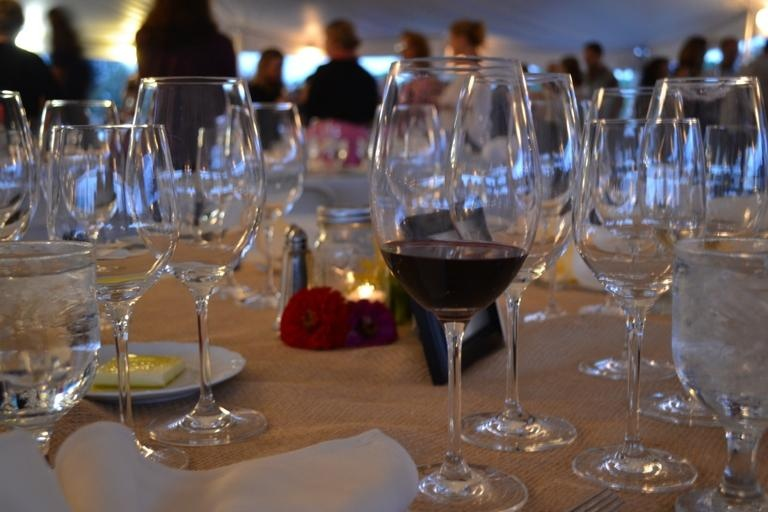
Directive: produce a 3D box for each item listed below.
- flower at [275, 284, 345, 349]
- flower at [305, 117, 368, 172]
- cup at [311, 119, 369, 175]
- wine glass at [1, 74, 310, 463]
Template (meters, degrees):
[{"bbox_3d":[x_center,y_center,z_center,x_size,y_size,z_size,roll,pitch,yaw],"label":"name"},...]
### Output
[{"bbox_3d":[-0.114,0.084,1.259,0.105,0.036,0.101,-24,-48,37],"label":"flower"},{"bbox_3d":[-0.251,-0.596,4.022,0.375,0.253,0.335,5,8,19],"label":"flower"},{"bbox_3d":[-0.253,-0.593,4.048,0.373,0.252,0.332,5,7,15],"label":"cup"},{"bbox_3d":[-0.254,0.001,0.958,0.200,0.454,0.209,2,7,19],"label":"wine glass"}]
